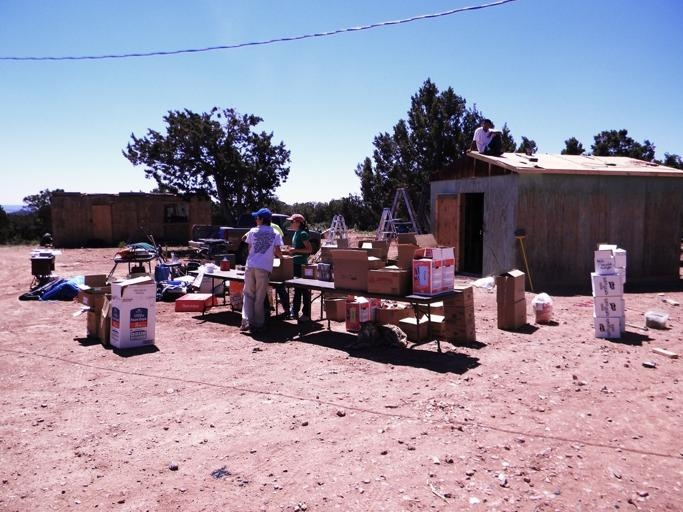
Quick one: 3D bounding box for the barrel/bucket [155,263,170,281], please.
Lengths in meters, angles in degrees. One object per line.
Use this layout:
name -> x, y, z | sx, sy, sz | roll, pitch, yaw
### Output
barrel/bucket -> -4.374, 0.380, 12.703 | 0.349, 0.404, 0.362 | 1, -1, 0

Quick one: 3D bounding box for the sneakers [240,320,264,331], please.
sneakers -> -1.575, 1.208, 9.321 | 0.417, 0.202, 0.165 | -3, 11, -9

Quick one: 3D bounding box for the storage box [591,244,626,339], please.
storage box -> 4.403, 0.560, 8.716 | 0.539, 1.430, 0.678 | 6, 13, 29

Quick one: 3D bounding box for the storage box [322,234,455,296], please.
storage box -> 0.515, 0.163, 8.196 | 1.356, 0.719, 0.561 | 8, 14, 36

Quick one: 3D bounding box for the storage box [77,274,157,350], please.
storage box -> -3.596, 0.912, 8.496 | 0.926, 0.934, 0.517 | 4, 11, 29

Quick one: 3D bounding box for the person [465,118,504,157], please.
person -> 4.058, -3.307, 14.813 | 0.806, 0.979, 0.889 | 2, 11, 13

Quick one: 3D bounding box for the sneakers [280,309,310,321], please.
sneakers -> -0.926, 1.147, 10.163 | 0.651, 0.297, 0.226 | -5, -2, 14

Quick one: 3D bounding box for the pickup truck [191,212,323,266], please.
pickup truck -> -3.035, -0.460, 17.803 | 3.698, 1.477, 2.012 | -9, 10, -29

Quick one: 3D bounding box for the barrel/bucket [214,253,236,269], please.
barrel/bucket -> -2.719, 0.102, 12.316 | 0.411, 0.236, 0.426 | -1, 20, 0
